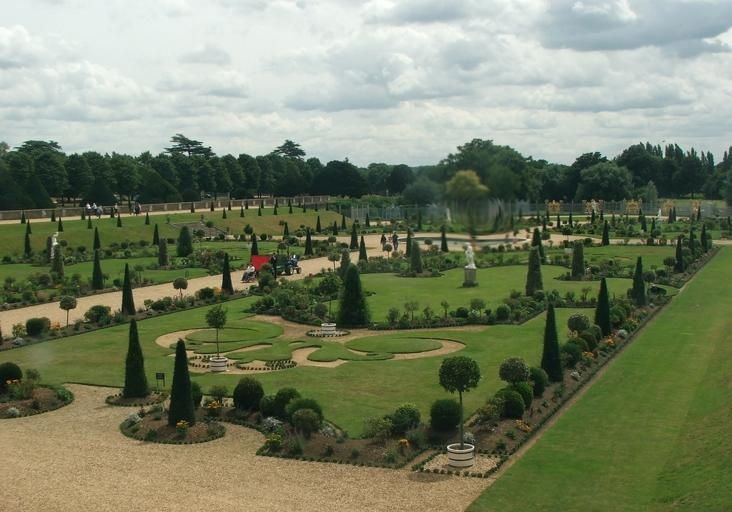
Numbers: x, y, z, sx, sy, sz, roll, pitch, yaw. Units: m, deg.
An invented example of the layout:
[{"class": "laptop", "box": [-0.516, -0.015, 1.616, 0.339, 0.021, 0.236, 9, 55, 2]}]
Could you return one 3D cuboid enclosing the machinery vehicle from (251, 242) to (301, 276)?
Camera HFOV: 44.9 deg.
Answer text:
[{"class": "machinery vehicle", "box": [-8.599, 0.876, 82.218, 2.707, 1.964, 5.865, 0, 4, 24]}]
